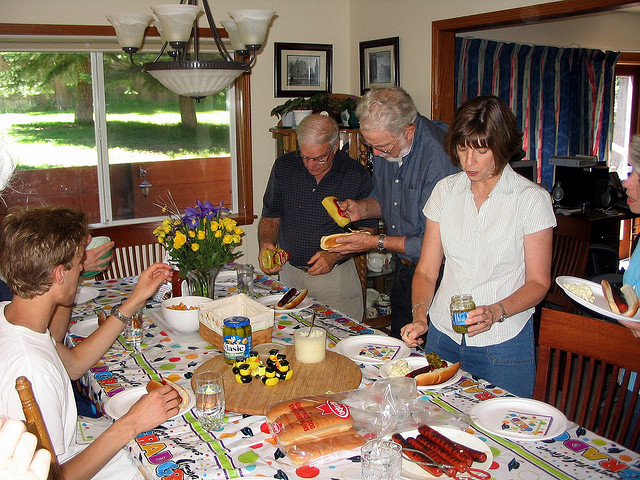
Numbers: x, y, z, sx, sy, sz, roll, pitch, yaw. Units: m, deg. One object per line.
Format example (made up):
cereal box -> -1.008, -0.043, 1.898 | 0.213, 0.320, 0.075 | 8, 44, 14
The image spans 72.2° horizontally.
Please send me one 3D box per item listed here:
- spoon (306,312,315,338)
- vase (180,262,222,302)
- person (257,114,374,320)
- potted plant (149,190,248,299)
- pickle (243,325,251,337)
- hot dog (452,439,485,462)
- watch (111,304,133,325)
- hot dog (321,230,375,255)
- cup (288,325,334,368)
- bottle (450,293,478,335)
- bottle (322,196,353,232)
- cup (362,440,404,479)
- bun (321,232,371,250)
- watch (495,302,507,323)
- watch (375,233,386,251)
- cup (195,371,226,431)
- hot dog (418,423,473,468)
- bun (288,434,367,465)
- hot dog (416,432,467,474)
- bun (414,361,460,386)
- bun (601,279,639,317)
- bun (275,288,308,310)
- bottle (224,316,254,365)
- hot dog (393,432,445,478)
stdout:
spoon -> -0.036, 0.365, 1.895 | 0.018, 0.099, 0.014 | 20, -21, -19
vase -> -0.625, 0.220, 2.349 | 0.187, 0.155, 0.206 | -6, -5, 9
person -> -0.039, 0.189, 3.349 | 0.799, 2.223, 0.762 | 3, 27, 1
potted plant -> -0.644, 0.073, 2.384 | 0.449, 0.553, 0.411 | -7, 6, 32
pickle -> -0.298, 0.377, 1.807 | 0.010, 0.051, 0.037 | 4, 13, 34
hot dog -> 0.445, 0.630, 1.298 | 0.027, 0.023, 0.095 | 1, 13, -25
watch -> -0.856, 0.327, 1.901 | 0.027, 0.084, 0.090 | -40, -21, 6
hot dog -> 0.163, -0.038, 2.627 | 0.331, 0.136, 0.091 | -16, 52, -17
cup -> -0.040, 0.452, 1.887 | 0.147, 0.116, 0.146 | 0, 9, 0
bottle -> 0.536, 0.285, 1.660 | 0.084, 0.133, 0.087 | -4, 1, 0
bottle -> 0.119, -0.135, 2.762 | 0.080, 0.239, 0.139 | -41, 1, 6
cup -> 0.168, 0.579, 1.203 | 0.100, 0.099, 0.099 | -1, 2, 0
bun -> 0.145, -0.006, 2.533 | 0.242, 0.068, 0.067 | -14, 11, -21
watch -> 0.713, 0.285, 1.716 | 0.049, 0.076, 0.031 | -9, 12, -28
watch -> 0.379, 0.011, 2.712 | 0.075, 0.117, 0.108 | 3, 19, 14
cup -> -0.372, 0.561, 1.497 | 0.113, 0.189, 0.114 | -5, -13, -1
hot dog -> 0.367, 0.597, 1.364 | 0.045, 0.040, 0.238 | -2, 21, -32
bun -> 0.014, 0.597, 1.329 | 0.215, 0.046, 0.098 | -5, 15, -23
hot dog -> 0.354, 0.623, 1.341 | 0.044, 0.037, 0.216 | -23, 31, -24
bun -> 0.468, 0.506, 1.751 | 0.242, 0.079, 0.066 | -9, -3, -37
bun -> 1.354, 0.253, 1.975 | 0.112, 0.114, 0.259 | 1, 11, 18
bun -> -0.143, 0.348, 2.502 | 0.093, 0.029, 0.147 | -20, 14, 29
bottle -> -0.344, 0.423, 1.854 | 0.119, 0.185, 0.126 | -1, 7, 0
hot dog -> 0.294, 0.633, 1.275 | 0.029, 0.038, 0.209 | -7, 27, -29
